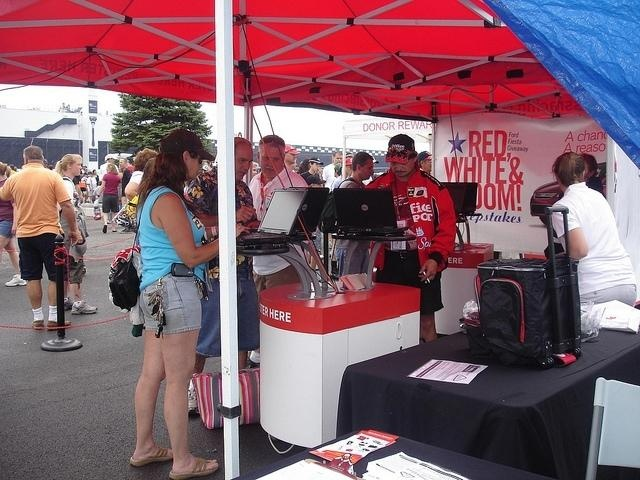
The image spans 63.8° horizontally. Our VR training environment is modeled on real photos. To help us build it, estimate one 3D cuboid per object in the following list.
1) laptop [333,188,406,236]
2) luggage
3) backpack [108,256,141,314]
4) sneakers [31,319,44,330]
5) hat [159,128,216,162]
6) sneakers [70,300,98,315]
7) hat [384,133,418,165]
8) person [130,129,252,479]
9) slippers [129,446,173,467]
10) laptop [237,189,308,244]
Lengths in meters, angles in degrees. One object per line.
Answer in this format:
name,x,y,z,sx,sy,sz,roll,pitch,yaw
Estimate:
laptop,0.287,-0.184,3.414,0.396,0.341,0.309,1,16,14
luggage,1.061,0.210,2.717,0.541,0.777,0.545,-1,-1,40
backpack,-1.155,0.259,3.147,0.247,0.346,0.183,-3,5,44
sneakers,-3.333,0.993,6.080,0.074,0.080,0.186,0,5,-16
hat,-0.793,-0.560,3.190,0.364,0.193,0.251,1,-11,-9
sneakers,-3.113,0.872,6.855,0.421,0.232,0.152,0,10,-16
hat,0.624,-0.718,4.036,0.177,0.140,0.256,3,12,20
person,-0.895,0.398,3.134,0.576,2.122,0.418,0,7,-6
slippers,-1.101,1.359,3.334,0.239,0.079,0.117,-5,7,-29
laptop,-0.350,-0.164,3.166,0.464,0.272,0.505,-8,6,-14
